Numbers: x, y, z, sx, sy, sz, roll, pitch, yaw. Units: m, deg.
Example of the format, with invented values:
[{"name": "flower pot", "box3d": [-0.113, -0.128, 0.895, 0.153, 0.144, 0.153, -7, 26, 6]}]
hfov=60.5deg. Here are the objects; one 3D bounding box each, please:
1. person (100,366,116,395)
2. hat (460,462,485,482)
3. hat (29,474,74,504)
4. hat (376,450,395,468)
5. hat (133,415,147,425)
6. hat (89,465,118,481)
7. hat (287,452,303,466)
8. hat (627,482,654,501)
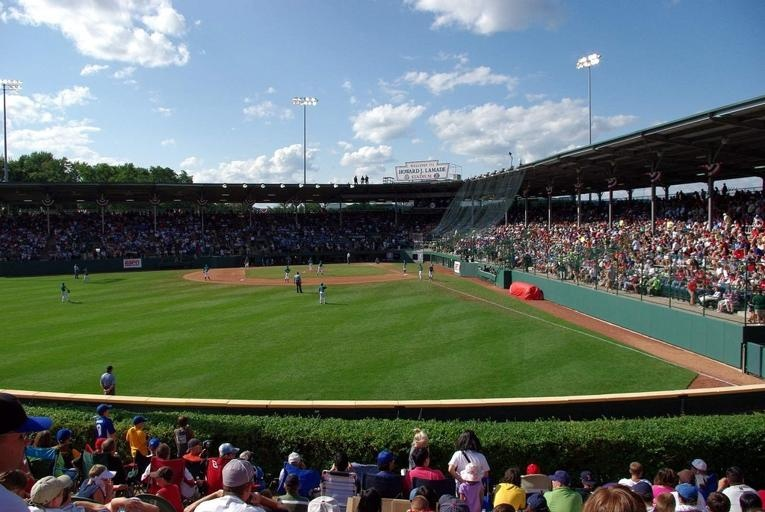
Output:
[{"name": "person", "box3d": [-10.103, 4.575, 24.254, 0.473, 1.093, 2.147, 1, 1, -21]}, {"name": "hat", "box3d": [2.408, 5.858, 17.666, 0.524, 0.143, 0.507, -4, 2, -39]}, {"name": "hat", "box3d": [-7.747, 5.414, 15.332, 0.568, 0.415, 0.780, 25, 33, 34]}, {"name": "hat", "box3d": [0.106, 5.560, 18.097, 0.404, 0.298, 0.581, 1, 6, 21]}, {"name": "hat", "box3d": [-7.361, 4.989, 19.951, 0.254, 0.183, 0.330, 7, 16, 16]}, {"name": "hat", "box3d": [-7.501, 5.839, 17.657, 0.621, 0.209, 0.383, 8, 3, -15]}, {"name": "hat", "box3d": [-2.461, 5.693, 18.466, 0.305, 0.221, 0.421, 2, 1, -6]}, {"name": "hat", "box3d": [6.858, 6.233, 17.367, 0.506, 0.424, 0.518, 2, 1, 20]}]
